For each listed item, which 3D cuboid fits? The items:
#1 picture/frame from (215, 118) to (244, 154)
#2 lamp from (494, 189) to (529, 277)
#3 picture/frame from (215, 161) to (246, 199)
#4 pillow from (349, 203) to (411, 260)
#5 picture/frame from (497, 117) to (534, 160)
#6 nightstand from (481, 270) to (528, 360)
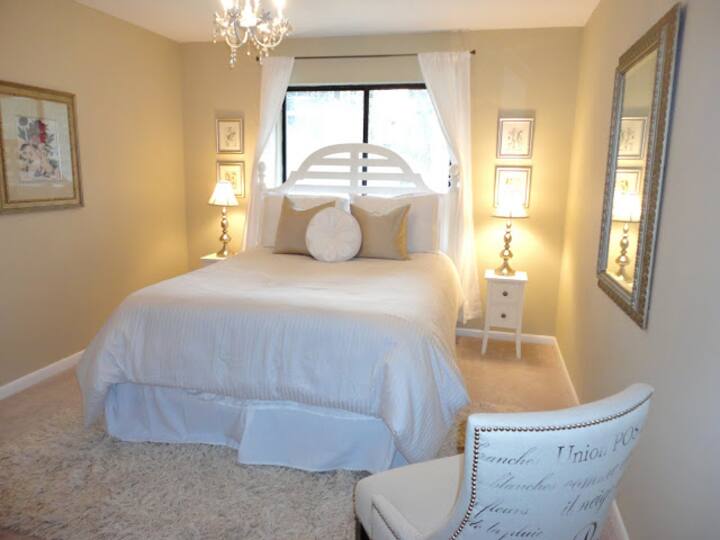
[{"bbox_3d":[-1.286,-1.356,5.296,0.262,0.355,0.023,7,16,15],"label":"picture/frame"},{"bbox_3d":[1.304,-0.355,4.716,0.260,0.764,0.417,4,13,17],"label":"lamp"},{"bbox_3d":[-1.274,-0.901,5.276,0.335,0.506,0.032,6,15,16],"label":"picture/frame"},{"bbox_3d":[0.153,-0.297,4.312,0.371,0.401,0.147,4,-5,15],"label":"pillow"},{"bbox_3d":[1.370,-1.192,4.744,0.289,0.398,0.034,3,12,11],"label":"picture/frame"},{"bbox_3d":[1.276,0.357,4.808,0.353,0.714,0.537,4,13,17],"label":"nightstand"}]
